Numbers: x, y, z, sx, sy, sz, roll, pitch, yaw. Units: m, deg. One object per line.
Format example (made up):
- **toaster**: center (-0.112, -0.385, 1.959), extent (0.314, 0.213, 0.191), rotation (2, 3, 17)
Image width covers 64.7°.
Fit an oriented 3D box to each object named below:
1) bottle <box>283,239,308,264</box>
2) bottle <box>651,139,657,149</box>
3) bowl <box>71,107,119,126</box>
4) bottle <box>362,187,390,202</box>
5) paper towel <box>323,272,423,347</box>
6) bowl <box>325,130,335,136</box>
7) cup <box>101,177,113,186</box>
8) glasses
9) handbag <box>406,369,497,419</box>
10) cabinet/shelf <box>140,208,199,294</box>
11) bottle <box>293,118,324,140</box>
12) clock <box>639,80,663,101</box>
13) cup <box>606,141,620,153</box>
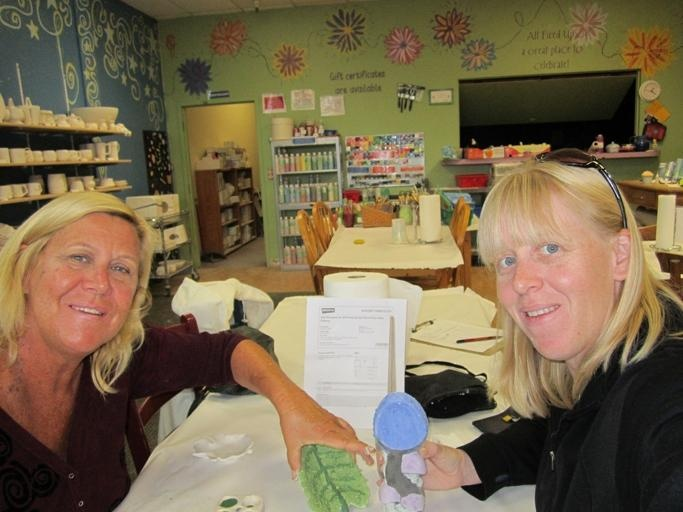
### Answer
- **bottle**: center (-0.573, -0.037, 6.646), extent (0.389, 0.308, 0.193), rotation (-1, -1, 4)
- **bottle**: center (3.734, -1.329, 6.409), extent (0.110, 0.110, 0.051), rotation (-10, 15, -35)
- **bowl**: center (-2.283, -1.302, 5.083), extent (0.309, 0.123, 0.280), rotation (-1, 5, -9)
- **bottle**: center (0.410, -0.759, 6.623), extent (0.310, 0.126, 0.377), rotation (-1, 4, -2)
- **paper towel**: center (0.068, 0.151, 1.565), extent (0.315, 0.193, 0.170), rotation (-1, 6, -8)
- **bowl**: center (-0.134, -1.524, 6.668), extent (0.141, 0.071, 0.144), rotation (-1, 11, 0)
- **cup**: center (-2.244, -0.706, 5.181), extent (0.108, 0.069, 0.105), rotation (2, 15, 0)
- **glasses**: center (0.499, -0.144, 1.126), extent (0.192, 0.159, 0.052), rotation (-1, -17, -8)
- **handbag**: center (0.268, 0.365, 1.464), extent (0.184, 0.054, 0.188), rotation (-18, 12, -20)
- **cabinet/shelf**: center (-2.033, -0.125, 6.130), extent (0.753, 0.744, 0.870), rotation (-11, -5, -16)
- **bottle**: center (-0.388, -1.580, 6.644), extent (0.378, 0.304, 0.234), rotation (0, 13, 2)
- **clock**: center (3.592, -1.927, 6.292), extent (0.261, 0.219, 0.056), rotation (-5, 11, 7)
- **cup**: center (3.263, -1.311, 6.482), extent (0.177, 0.132, 0.161), rotation (-2, 13, 0)
